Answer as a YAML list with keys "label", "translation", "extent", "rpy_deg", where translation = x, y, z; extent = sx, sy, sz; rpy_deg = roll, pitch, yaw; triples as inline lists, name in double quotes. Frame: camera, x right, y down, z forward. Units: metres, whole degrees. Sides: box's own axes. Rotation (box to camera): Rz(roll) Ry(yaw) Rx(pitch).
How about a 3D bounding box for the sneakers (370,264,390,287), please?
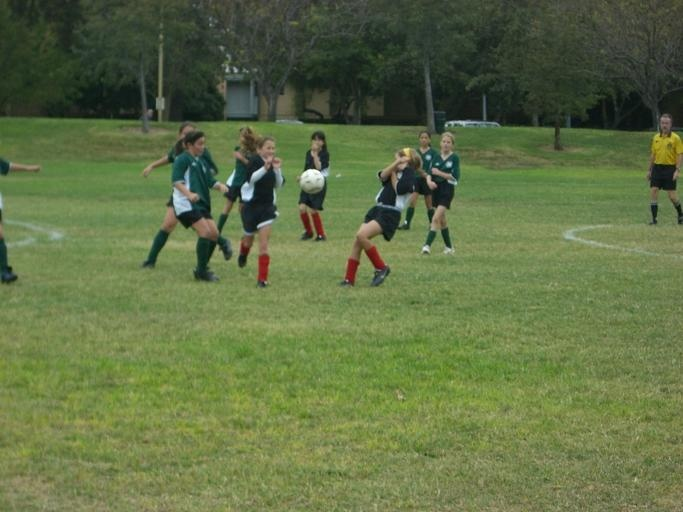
- label: "sneakers"
  translation: [0.801, 0.393, 22.943]
  extent: [0.281, 0.567, 0.206]
  rpy_deg: [25, 15, -14]

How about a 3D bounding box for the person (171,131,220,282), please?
- label: "person"
  translation: [-2.858, -1.020, 23.035]
  extent: [1.034, 2.977, 0.746]
  rpy_deg: [-4, 8, -40]

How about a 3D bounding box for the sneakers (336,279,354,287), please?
- label: "sneakers"
  translation: [0.074, 0.525, 22.845]
  extent: [0.281, 0.131, 0.125]
  rpy_deg: [2, 2, 29]

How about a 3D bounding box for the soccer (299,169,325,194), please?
- label: "soccer"
  translation: [-0.640, -1.593, 24.730]
  extent: [0.523, 0.511, 0.503]
  rpy_deg: [1, 7, -3]

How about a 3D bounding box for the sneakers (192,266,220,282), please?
- label: "sneakers"
  translation: [-2.712, 0.355, 23.013]
  extent: [0.538, 0.262, 0.204]
  rpy_deg: [3, 10, -8]

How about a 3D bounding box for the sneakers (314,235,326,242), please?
- label: "sneakers"
  translation: [-0.462, -0.417, 26.774]
  extent: [0.214, 0.100, 0.115]
  rpy_deg: [0, 2, -32]

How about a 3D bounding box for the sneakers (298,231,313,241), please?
- label: "sneakers"
  translation: [-0.854, -0.471, 27.064]
  extent: [0.355, 0.175, 0.130]
  rpy_deg: [3, 8, 40]

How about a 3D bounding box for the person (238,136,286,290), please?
- label: "person"
  translation: [-1.616, -0.923, 23.078]
  extent: [0.795, 2.905, 1.320]
  rpy_deg: [1, 6, -6]

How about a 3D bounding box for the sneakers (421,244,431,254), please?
- label: "sneakers"
  translation: [1.891, -0.154, 25.534]
  extent: [0.169, 0.200, 0.437]
  rpy_deg: [2, -2, 8]

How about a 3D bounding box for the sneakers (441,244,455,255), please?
- label: "sneakers"
  translation: [2.396, -0.112, 25.521]
  extent: [0.116, 0.175, 0.335]
  rpy_deg: [-6, -6, 26]

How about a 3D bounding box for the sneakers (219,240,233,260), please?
- label: "sneakers"
  translation: [-2.438, -0.174, 24.429]
  extent: [0.180, 0.520, 0.241]
  rpy_deg: [5, 48, 17]

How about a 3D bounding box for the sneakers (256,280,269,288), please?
- label: "sneakers"
  translation: [-1.546, 0.529, 22.728]
  extent: [0.230, 0.131, 0.314]
  rpy_deg: [1, 7, -7]

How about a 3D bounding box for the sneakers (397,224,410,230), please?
- label: "sneakers"
  translation: [1.540, -0.723, 28.785]
  extent: [0.337, 0.156, 0.121]
  rpy_deg: [10, 10, 34]
